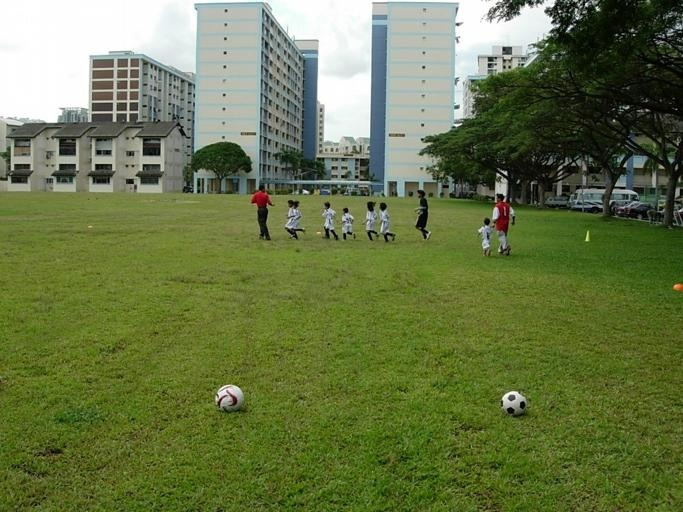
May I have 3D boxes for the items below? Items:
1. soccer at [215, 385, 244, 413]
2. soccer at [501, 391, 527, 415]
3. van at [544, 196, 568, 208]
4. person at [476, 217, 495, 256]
[{"bbox_3d":[-1.507,1.902,7.854,0.322,0.332,0.324,1,-5,2],"label":"soccer"},{"bbox_3d":[2.273,1.942,7.777,0.280,0.295,0.288,-13,-36,10],"label":"soccer"},{"bbox_3d":[22.736,-5.681,61.998,2.159,1.028,0.752,7,9,35],"label":"van"},{"bbox_3d":[4.396,-0.621,17.862,0.359,1.126,1.965,3,7,14],"label":"person"}]
